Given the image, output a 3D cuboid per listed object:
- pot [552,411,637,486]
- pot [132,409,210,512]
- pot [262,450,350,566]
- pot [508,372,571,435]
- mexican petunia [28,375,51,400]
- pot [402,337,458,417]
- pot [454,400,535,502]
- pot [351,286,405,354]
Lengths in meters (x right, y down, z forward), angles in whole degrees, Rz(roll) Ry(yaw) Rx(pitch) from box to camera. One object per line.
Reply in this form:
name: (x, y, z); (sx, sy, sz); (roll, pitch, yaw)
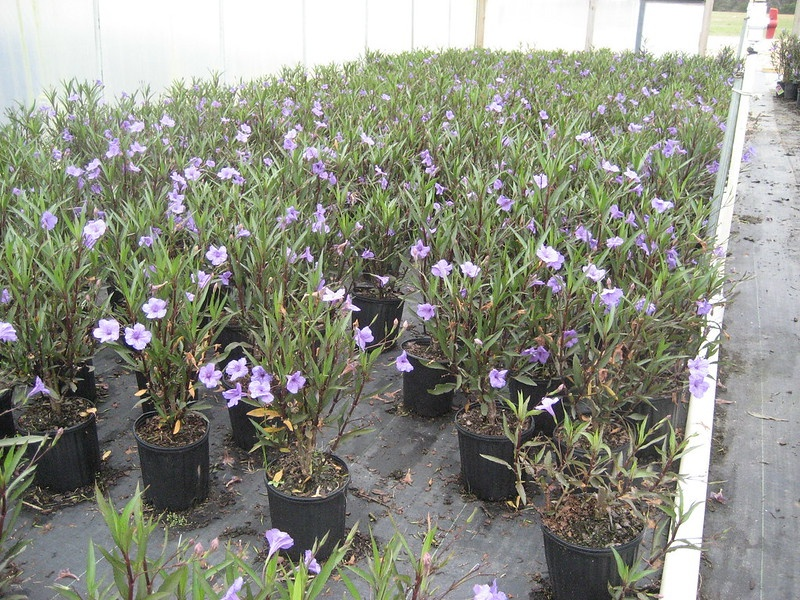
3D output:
pot: (0.789, 0.607, 2.242); (0.266, 0.257, 0.317); (-6, 21, -11)
pot: (-0.974, 0.701, 2.537); (0.332, 0.426, 0.376); (-4, 20, -15)
pot: (-0.362, 0.776, 2.174); (0.294, 0.313, 0.325); (2, 21, 1)
pot: (0.680, 0.508, 2.784); (0.290, 0.285, 0.341); (-1, 16, 2)
mexican petunia: (-1.533, 0.363, 2.336); (0.098, 0.073, 0.080); (-22, 37, 40)
pot: (0.144, 0.431, 3.095); (0.320, 0.324, 0.365); (-1, 21, -5)
pot: (0.439, 0.718, 2.598); (0.357, 0.324, 0.345); (-2, 10, 0)
pot: (-0.149, 0.139, 3.395); (0.314, 0.344, 0.366); (-1, 16, -8)
